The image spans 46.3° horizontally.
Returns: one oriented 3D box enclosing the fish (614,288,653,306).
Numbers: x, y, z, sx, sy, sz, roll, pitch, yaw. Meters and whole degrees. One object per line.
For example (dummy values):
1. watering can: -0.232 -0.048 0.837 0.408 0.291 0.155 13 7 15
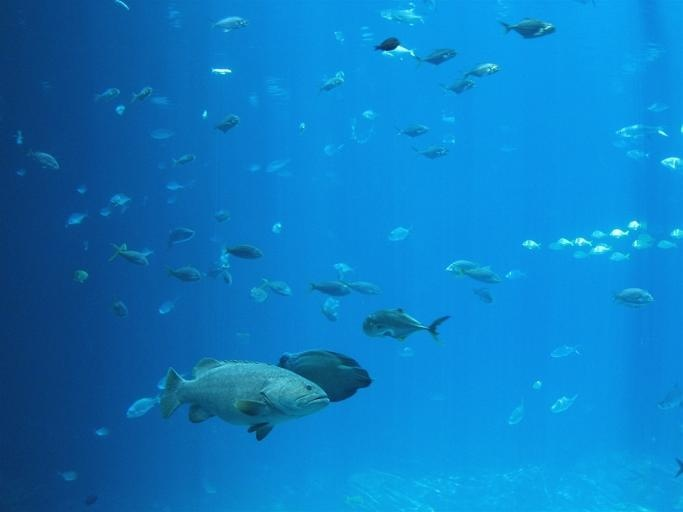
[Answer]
1. fish: 9.327 1.329 25.697 1.080 0.605 0.377 -5 26 19
